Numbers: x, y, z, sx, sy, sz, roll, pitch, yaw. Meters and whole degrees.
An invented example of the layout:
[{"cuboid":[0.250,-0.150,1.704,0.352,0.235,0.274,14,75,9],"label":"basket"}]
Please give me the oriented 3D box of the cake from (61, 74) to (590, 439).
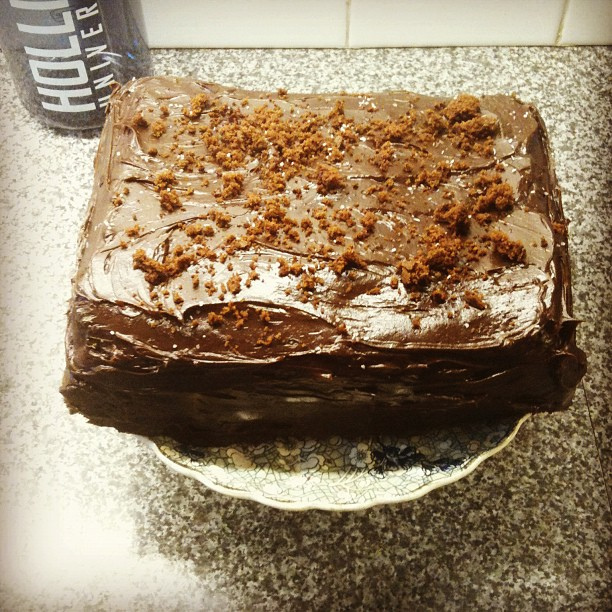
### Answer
[{"cuboid":[0.029,-0.099,1.611,1.021,0.500,0.699,-1,46,1],"label":"cake"}]
